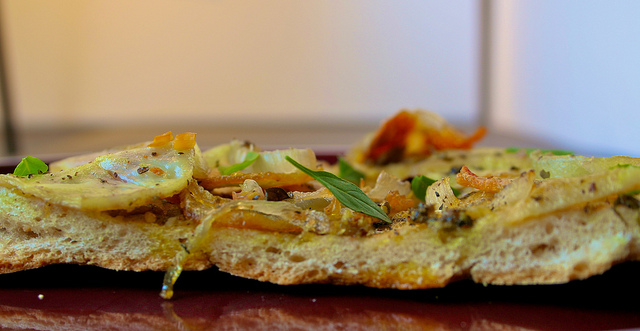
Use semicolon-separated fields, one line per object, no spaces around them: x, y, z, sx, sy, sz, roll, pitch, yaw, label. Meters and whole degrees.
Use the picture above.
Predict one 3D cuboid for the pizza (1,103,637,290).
-0.028;0.110;1.313;1.145;0.175;0.649;1;2;-6;pizza
